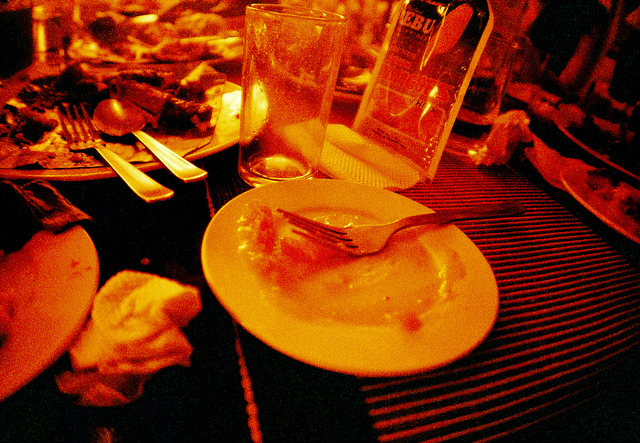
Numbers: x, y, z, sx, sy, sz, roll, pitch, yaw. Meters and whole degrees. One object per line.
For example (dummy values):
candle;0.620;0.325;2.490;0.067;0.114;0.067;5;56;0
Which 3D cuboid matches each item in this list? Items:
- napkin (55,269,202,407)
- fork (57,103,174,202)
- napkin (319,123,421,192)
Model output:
napkin;-0.260;0.159;0.693;0.137;0.052;0.170;22;60;3
fork;-0.355;-0.114;0.890;0.273;0.048;0.048;36;38;29
napkin;0.096;-0.117;1.017;0.157;0.042;0.156;-3;37;-37
